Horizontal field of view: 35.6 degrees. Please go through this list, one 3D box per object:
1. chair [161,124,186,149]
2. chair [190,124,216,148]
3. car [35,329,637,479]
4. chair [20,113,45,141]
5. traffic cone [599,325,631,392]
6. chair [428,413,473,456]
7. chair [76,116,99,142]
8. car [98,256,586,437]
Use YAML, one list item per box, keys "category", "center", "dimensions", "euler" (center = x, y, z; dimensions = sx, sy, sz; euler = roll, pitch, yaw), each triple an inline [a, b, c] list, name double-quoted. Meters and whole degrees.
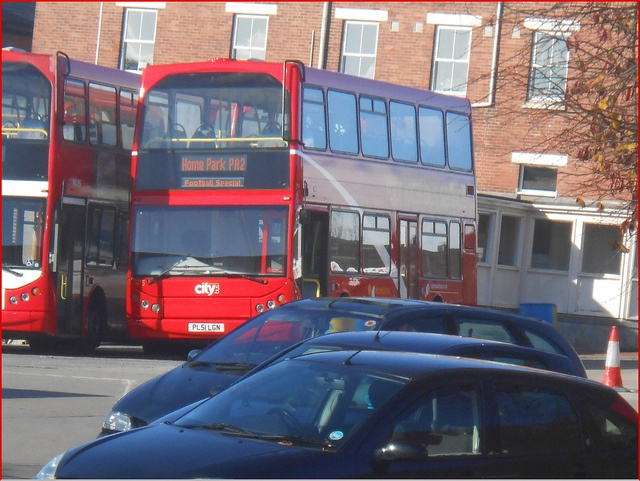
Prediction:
- category: "chair"
  center: [-2.718, -2.004, 18.713]
  dimensions: [0.419, 0.464, 0.207]
  euler: [-8, 9, -1]
- category: "chair"
  center: [-2.194, -1.995, 18.649]
  dimensions: [0.482, 0.533, 0.322]
  euler: [-2, 8, -10]
- category: "car"
  center: [0.611, 1.624, 8.892]
  dimensions: [3.933, 1.282, 2.108]
  euler: [6, -6, -30]
- category: "chair"
  center: [-5.458, -2.174, 18.793]
  dimensions: [0.484, 0.466, 0.267]
  euler: [1, -13, -3]
- category: "traffic cone"
  center: [5.307, 2.137, 18.123]
  dimensions: [0.935, 1.136, 0.895]
  euler: [3, -4, 12]
- category: "chair"
  center: [1.158, 1.700, 8.669]
  dimensions: [0.332, 0.308, 0.344]
  euler: [0, 2, 2]
- category: "chair"
  center: [-4.772, -2.271, 20.012]
  dimensions: [0.441, 0.604, 0.340]
  euler: [2, 2, 21]
- category: "car"
  center: [-0.030, 1.177, 11.851]
  dimensions: [4.729, 1.548, 2.256]
  euler: [2, -4, -22]
